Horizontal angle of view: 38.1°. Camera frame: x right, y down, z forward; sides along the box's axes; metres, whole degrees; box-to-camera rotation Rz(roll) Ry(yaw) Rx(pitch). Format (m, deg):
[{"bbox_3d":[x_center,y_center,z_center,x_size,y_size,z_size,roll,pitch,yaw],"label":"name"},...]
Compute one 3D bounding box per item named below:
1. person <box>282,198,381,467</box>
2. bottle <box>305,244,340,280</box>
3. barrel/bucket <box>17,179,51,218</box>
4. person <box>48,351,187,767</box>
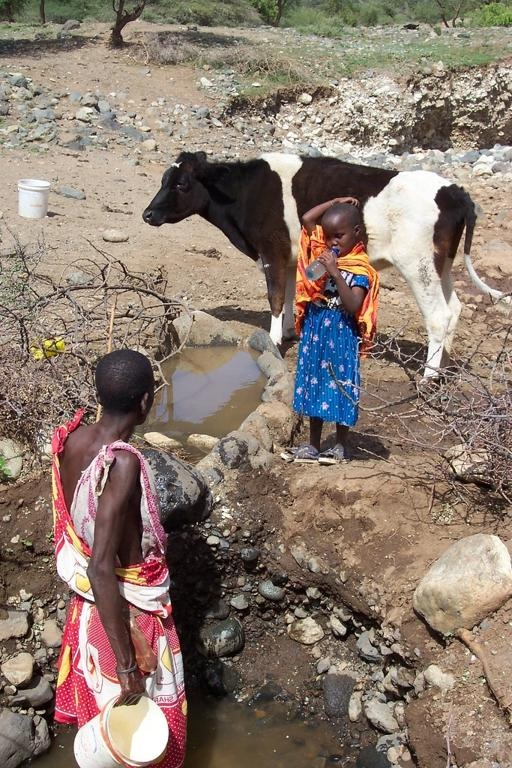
[{"bbox_3d":[0.383,-0.222,3.944,0.426,1.476,0.695,2,24,1],"label":"person"},{"bbox_3d":[0.323,-0.572,3.567,0.099,0.167,0.196,21,30,36],"label":"bottle"},{"bbox_3d":[-2.721,-2.295,9.008,0.504,0.465,0.471,9,36,-7],"label":"barrel/bucket"},{"bbox_3d":[-0.472,0.612,2.407,0.443,1.365,0.646,-6,25,-17],"label":"person"}]
